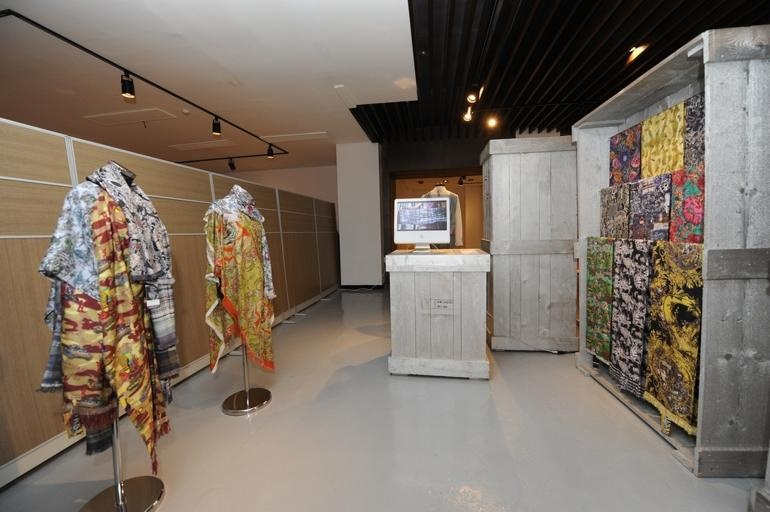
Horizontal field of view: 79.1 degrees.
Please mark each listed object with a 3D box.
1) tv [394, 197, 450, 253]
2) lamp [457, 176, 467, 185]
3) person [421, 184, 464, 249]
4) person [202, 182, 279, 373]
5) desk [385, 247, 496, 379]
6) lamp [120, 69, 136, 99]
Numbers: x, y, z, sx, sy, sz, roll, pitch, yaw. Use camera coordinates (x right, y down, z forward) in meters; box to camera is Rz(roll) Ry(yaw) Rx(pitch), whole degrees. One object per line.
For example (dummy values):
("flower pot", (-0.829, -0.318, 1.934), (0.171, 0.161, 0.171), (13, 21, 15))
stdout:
("tv", (0.395, -0.341, 4.925), (0.705, 0.646, 0.253), (-1, 0, 8))
("lamp", (1.869, -1.835, 11.313), (0.176, 0.277, 0.424), (19, 13, 15))
("person", (0.741, -0.259, 6.278), (0.609, 1.447, 0.270), (0, -9, 1))
("person", (-1.416, 0.222, 4.478), (0.629, 1.792, 0.289), (-4, 4, -24))
("desk", (0.635, 0.532, 5.490), (1.189, 1.499, 1.405), (-1, 2, 9))
("lamp", (-2.989, -1.972, 5.387), (0.102, 0.326, 0.243), (-4, 4, -21))
